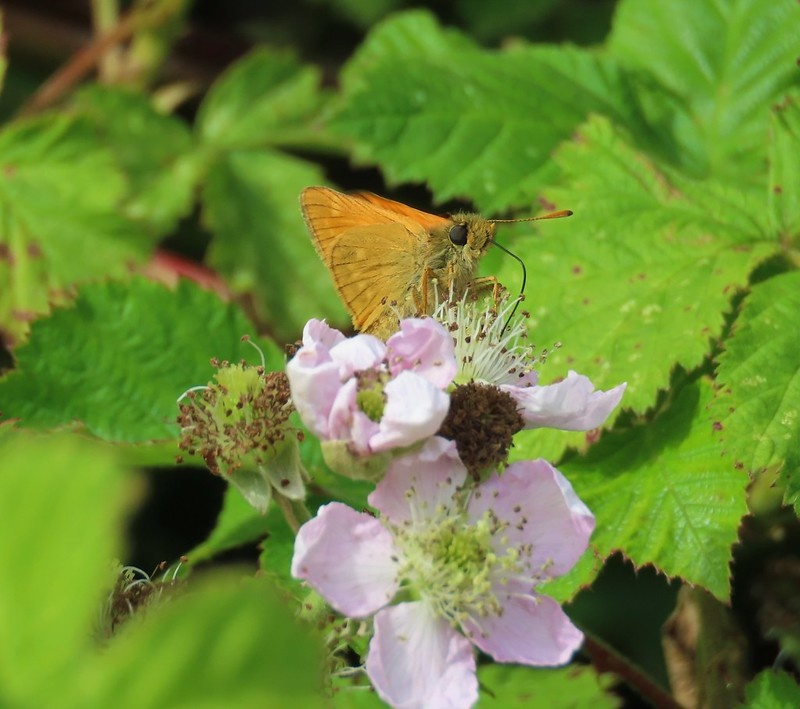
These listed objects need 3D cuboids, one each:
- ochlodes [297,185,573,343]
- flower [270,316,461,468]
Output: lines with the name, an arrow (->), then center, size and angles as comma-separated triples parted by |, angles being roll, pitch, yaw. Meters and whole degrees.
ochlodes -> 0.051, -0.145, 1.653 | 0.360, 0.168, 0.276 | -9, 83, 22
flower -> -0.032, 0.007, 1.134 | 0.145, 0.182, 0.115 | -30, 38, -3
